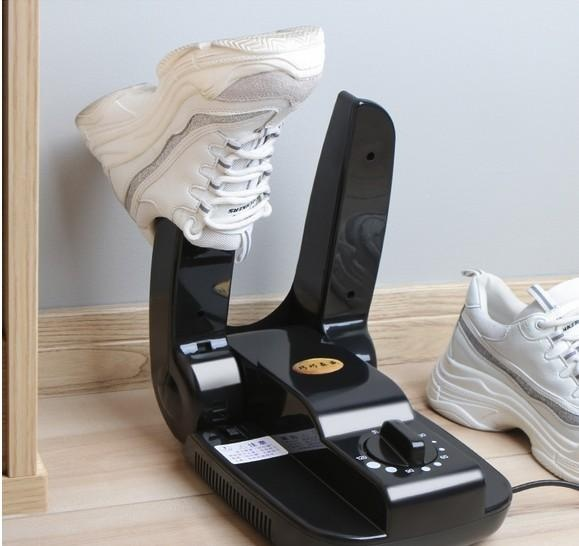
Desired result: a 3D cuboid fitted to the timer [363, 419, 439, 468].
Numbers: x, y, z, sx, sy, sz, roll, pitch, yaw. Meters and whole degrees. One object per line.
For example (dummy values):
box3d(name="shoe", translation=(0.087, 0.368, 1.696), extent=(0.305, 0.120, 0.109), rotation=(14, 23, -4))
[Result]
box3d(name="timer", translation=(0.107, 0.161, 0.558), extent=(0.087, 0.023, 0.078), rotation=(-1, 6, -8))

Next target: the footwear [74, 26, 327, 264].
box3d(name="footwear", translation=(-0.089, -0.174, 0.630), extent=(0.119, 0.209, 0.308), rotation=(8, 30, -38))
